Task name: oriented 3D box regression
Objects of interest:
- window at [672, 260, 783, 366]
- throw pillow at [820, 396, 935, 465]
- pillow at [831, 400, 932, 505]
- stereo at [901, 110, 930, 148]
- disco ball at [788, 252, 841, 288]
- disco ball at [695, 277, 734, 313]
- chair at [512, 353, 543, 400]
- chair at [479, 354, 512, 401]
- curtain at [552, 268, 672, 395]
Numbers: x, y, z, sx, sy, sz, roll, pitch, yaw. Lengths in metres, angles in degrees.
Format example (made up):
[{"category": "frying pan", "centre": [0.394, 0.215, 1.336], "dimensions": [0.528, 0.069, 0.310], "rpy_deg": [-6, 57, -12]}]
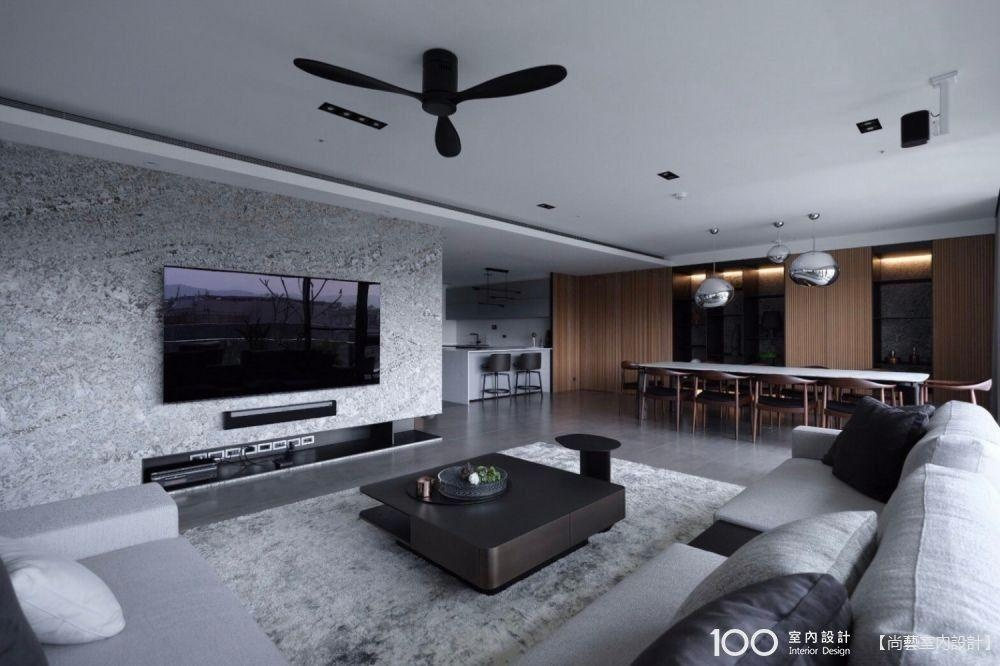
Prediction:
[{"category": "window", "centre": [4.047, -0.355, 10.292], "dimensions": [0.305, 2.314, 1.764], "rpy_deg": [5, -7, -43]}, {"category": "throw pillow", "centre": [2.732, 0.749, 4.260], "dimensions": [0.217, 0.537, 0.534], "rpy_deg": [18, -4, -5]}, {"category": "pillow", "centre": [2.708, 0.833, 4.223], "dimensions": [0.233, 0.624, 0.626], "rpy_deg": [15, -7, -2]}, {"category": "stereo", "centre": [3.228, -1.603, 4.563], "dimensions": [0.166, 0.274, 0.242], "rpy_deg": [10, 15, 42]}, {"category": "disco ball", "centre": [3.628, -0.729, 6.859], "dimensions": [0.498, 0.486, 0.491], "rpy_deg": [2, 1, 0]}, {"category": "disco ball", "centre": [2.846, -0.547, 7.851], "dimensions": [0.505, 0.291, 0.508], "rpy_deg": [-2, 15, 1]}, {"category": "chair", "centre": [0.496, 0.724, 10.870], "dimensions": [0.391, 0.583, 0.379], "rpy_deg": [0, 9, -29]}, {"category": "chair", "centre": [-0.063, 0.756, 10.344], "dimensions": [0.471, 0.740, 0.512], "rpy_deg": [0, 4, 28]}, {"category": "curtain", "centre": [2.205, -0.040, 11.445], "dimensions": [2.460, 2.496, 0.170], "rpy_deg": [-1, -1, 40]}]
